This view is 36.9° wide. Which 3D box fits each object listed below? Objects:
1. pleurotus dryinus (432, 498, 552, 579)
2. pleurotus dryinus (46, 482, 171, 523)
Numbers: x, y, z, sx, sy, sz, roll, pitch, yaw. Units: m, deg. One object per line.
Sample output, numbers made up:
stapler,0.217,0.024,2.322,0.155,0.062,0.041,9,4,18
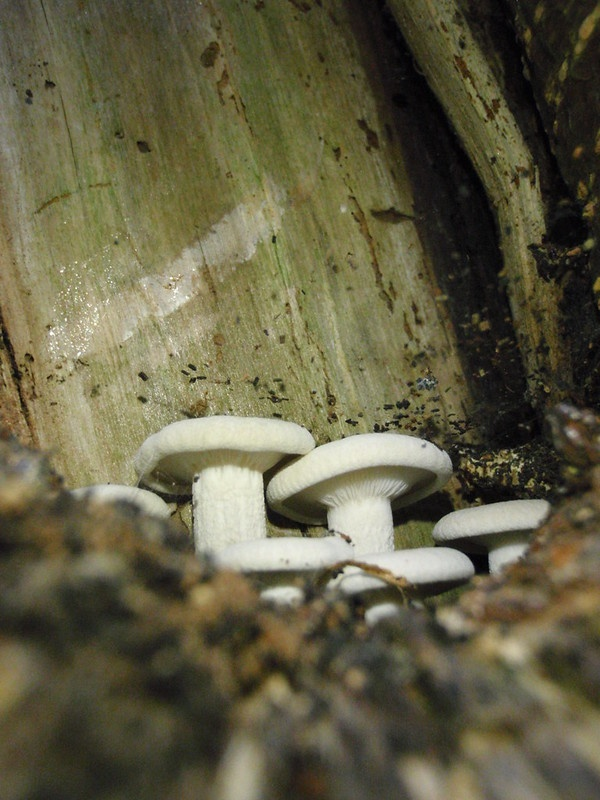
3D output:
pleurotus dryinus,0.471,0.347,2.236,0.259,0.102,0.228,-3,-13,-5
pleurotus dryinus,-0.439,0.259,2.197,0.201,0.043,0.168,11,-3,-25
